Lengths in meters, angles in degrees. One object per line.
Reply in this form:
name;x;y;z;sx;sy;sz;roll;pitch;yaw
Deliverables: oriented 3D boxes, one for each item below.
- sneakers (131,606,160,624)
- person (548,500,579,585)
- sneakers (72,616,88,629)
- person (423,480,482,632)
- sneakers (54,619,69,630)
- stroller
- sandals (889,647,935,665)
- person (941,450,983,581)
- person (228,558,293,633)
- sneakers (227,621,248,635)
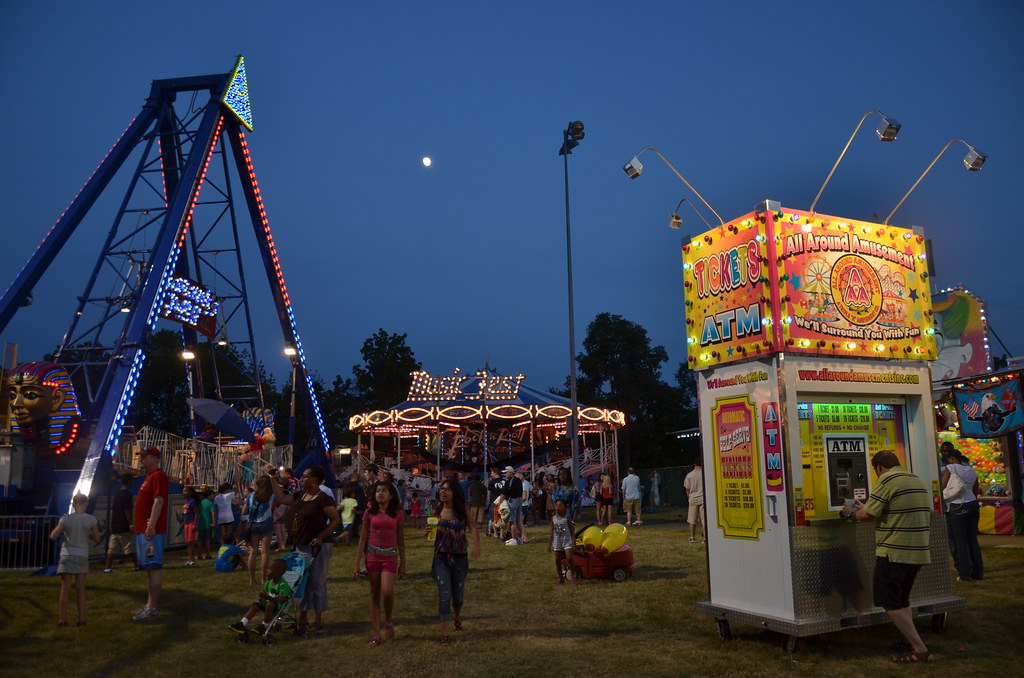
sneakers;-6.578;4.899;13.942;0.316;0.127;0.242;2;-1;-24
person;1.034;4.195;16.396;0.490;1.714;0.950;-1;-1;3
sneakers;-7.586;4.963;13.664;0.191;0.149;0.107;7;-14;-5
person;-0.959;3.531;12.696;0.569;2.469;0.823;-1;-1;3
sneakers;-7.844;4.943;13.537;0.127;0.117;0.152;-3;-27;-5
stroller;-3.910;4.176;12.725;0.717;1.327;1.284;-5;-8;32
sandals;5.660;4.510;11.088;0.478;0.146;0.253;2;-14;3
person;8.765;3.348;15.244;0.627;1.706;1.368;-2;-2;30
person;-4.010;4.194;12.659;0.825;1.277;0.394;-2;-1;13
sneakers;-4.454;4.682;12.669;0.254;0.267;0.261;-1;-2;-11
